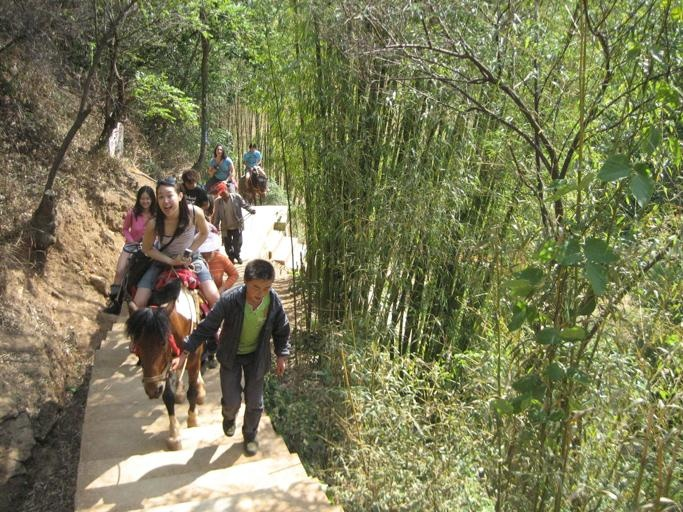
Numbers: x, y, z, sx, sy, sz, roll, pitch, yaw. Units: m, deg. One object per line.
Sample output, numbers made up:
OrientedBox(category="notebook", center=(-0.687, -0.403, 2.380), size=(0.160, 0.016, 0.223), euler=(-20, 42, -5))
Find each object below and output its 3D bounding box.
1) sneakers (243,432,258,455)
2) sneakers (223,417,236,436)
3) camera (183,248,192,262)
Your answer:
OrientedBox(category="sneakers", center=(-0.675, 1.357, 4.213), size=(0.080, 0.158, 0.155), euler=(1, 34, -19))
OrientedBox(category="sneakers", center=(-0.833, 1.262, 4.238), size=(0.088, 0.164, 0.076), euler=(0, 3, 6))
OrientedBox(category="camera", center=(-1.281, -0.011, 4.800), size=(0.071, 0.095, 0.077), euler=(9, 9, 5))
